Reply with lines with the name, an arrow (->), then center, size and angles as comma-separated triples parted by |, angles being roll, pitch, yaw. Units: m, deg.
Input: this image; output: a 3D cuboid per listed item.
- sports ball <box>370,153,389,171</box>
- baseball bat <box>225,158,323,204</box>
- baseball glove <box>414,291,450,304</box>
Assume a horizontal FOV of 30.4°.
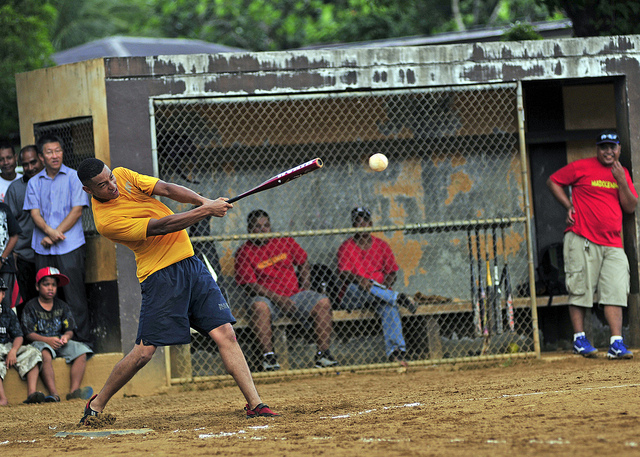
sports ball -> 0.674, -0.756, 13.451 | 0.213, 0.168, 0.189 | -4, -2, -6
baseball bat -> -0.631, -0.597, 14.629 | 1.010, 0.165, 0.156 | -29, 36, 1
baseball glove -> 1.396, 0.908, 14.843 | 0.262, 0.126, 0.204 | 5, -5, 14
